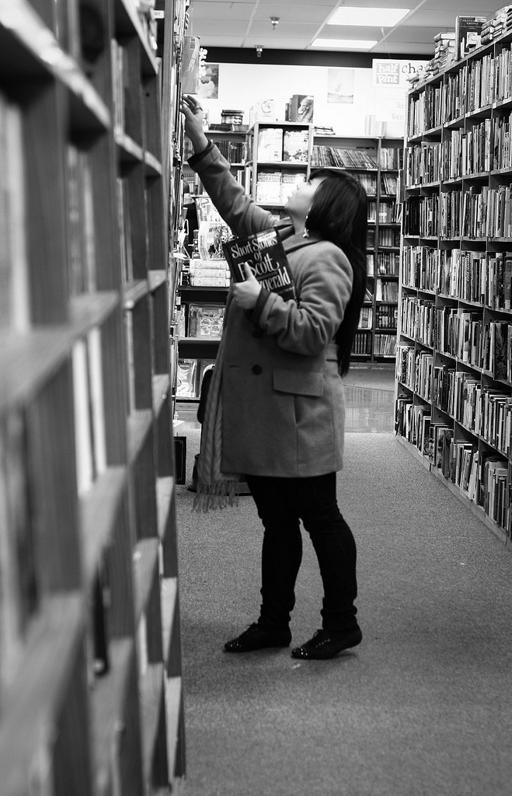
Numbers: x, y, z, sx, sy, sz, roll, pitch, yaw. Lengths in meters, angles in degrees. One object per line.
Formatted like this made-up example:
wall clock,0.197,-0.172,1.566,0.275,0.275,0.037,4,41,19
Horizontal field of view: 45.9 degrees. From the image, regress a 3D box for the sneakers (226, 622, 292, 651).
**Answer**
sneakers,0.014,0.969,2.503,0.280,0.169,0.116,1,0,-10
